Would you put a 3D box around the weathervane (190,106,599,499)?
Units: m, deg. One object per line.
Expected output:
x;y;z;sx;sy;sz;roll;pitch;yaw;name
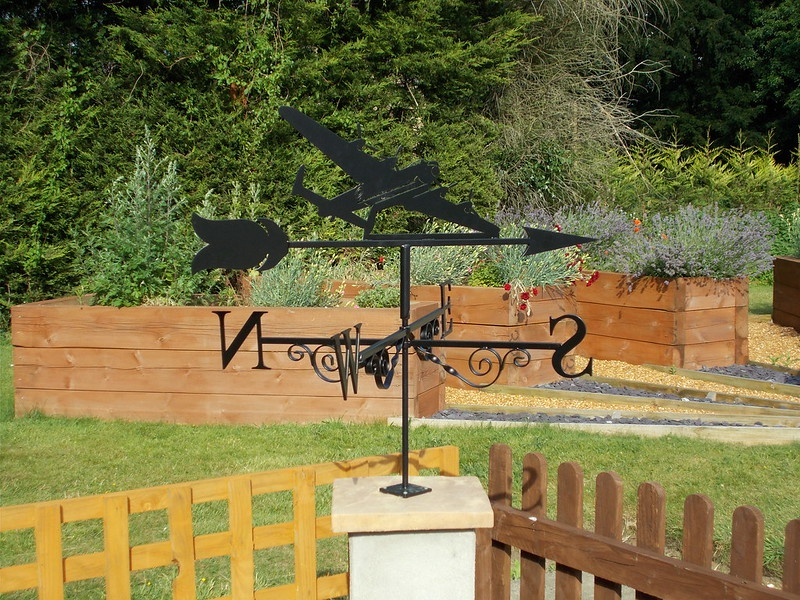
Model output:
-0.014;-0.338;6.114;2.403;2.192;2.504;2;10;7;weathervane
